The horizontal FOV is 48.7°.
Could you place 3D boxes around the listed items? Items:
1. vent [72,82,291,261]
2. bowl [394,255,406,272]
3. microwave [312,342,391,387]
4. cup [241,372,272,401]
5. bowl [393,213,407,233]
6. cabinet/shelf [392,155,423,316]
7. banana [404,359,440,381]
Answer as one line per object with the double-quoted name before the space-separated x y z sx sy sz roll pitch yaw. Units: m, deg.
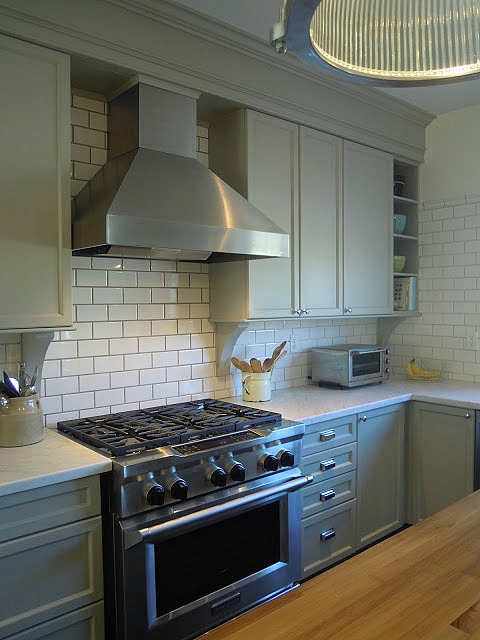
"vent" -0.360 -0.654 2.313 0.736 0.680 0.966 6 7 43
"bowl" 1.130 -0.409 3.753 0.074 0.136 0.232 -1 3 18
"microwave" 0.712 0.289 3.370 0.415 0.245 0.332 -3 4 -35
"cup" 0.094 0.354 2.866 0.114 0.130 0.181 4 7 40
"bowl" 1.136 -0.695 3.758 0.079 0.166 0.219 0 3 20
"cabinet/shelf" 1.166 -0.585 3.727 0.180 1.057 0.366 -1 3 17
"banana" 1.271 0.345 3.714 0.190 0.105 0.118 3 5 25
